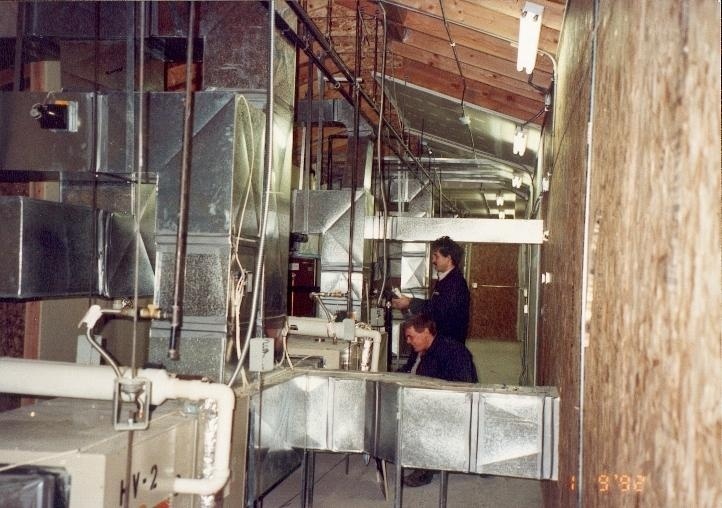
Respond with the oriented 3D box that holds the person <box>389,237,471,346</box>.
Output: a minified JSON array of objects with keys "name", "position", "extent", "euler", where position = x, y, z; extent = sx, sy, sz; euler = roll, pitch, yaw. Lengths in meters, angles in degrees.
[{"name":"person","position":[0.549,0.403,7.720],"extent":[0.492,1.038,0.497],"euler":[-4,13,-8]}]

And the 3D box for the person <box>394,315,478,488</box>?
[{"name":"person","position":[0.482,0.884,6.650],"extent":[0.507,1.072,0.467],"euler":[9,14,23]}]
